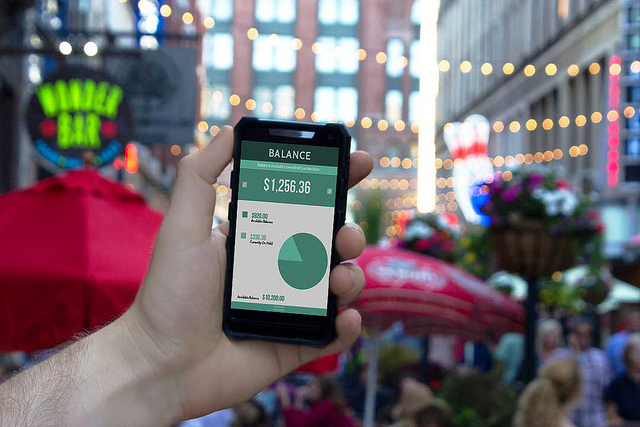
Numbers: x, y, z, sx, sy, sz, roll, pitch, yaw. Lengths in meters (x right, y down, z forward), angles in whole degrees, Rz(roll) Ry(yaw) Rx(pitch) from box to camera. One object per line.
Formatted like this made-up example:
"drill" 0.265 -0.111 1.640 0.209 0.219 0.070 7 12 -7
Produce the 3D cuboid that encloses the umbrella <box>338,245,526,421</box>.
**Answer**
"umbrella" 1.420 1.124 11.953 1.620 1.846 1.846 -9 -31 41
